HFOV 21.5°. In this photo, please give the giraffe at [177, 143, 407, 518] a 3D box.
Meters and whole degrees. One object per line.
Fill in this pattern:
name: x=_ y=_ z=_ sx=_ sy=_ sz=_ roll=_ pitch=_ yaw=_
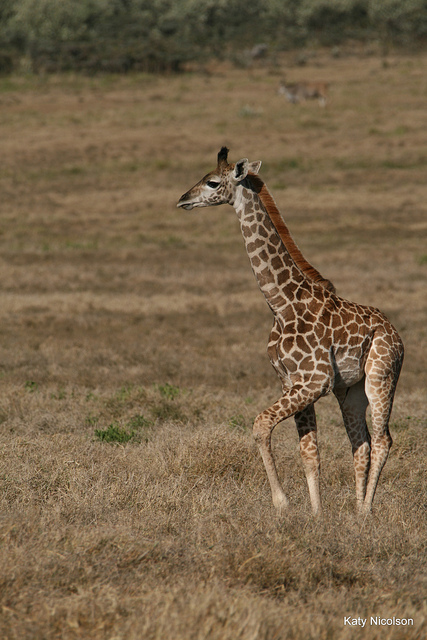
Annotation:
giraffe: x=0.922 y=0.265 z=13.593 sx=2.729 sy=4.635 sz=0.968 roll=-1 pitch=4 yaw=-15
